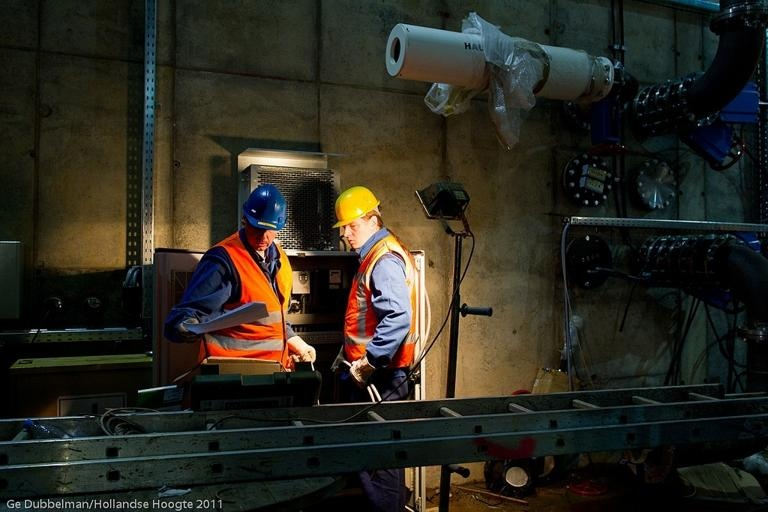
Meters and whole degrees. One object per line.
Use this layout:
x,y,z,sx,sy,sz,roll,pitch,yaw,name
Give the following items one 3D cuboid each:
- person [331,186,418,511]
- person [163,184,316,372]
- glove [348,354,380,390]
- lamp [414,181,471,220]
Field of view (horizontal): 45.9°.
-0.072,0.690,6.864,0.634,2.442,0.592,2,-1,-1,person
-1.013,0.150,6.558,0.438,1.369,1.063,0,-2,42,person
-0.151,0.864,6.706,0.198,0.237,0.233,2,-2,-2,glove
0.486,-0.425,7.224,0.295,0.315,0.377,2,-2,-24,lamp
